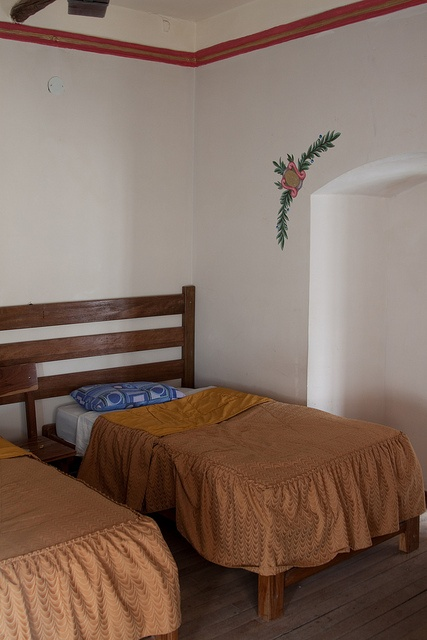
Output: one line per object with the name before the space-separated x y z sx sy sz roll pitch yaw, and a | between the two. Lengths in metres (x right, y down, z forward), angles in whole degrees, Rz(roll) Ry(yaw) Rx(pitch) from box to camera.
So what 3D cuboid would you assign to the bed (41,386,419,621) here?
bed | 0.008 0.771 2.632 0.788 0.355 1.188 -7 9 -40
